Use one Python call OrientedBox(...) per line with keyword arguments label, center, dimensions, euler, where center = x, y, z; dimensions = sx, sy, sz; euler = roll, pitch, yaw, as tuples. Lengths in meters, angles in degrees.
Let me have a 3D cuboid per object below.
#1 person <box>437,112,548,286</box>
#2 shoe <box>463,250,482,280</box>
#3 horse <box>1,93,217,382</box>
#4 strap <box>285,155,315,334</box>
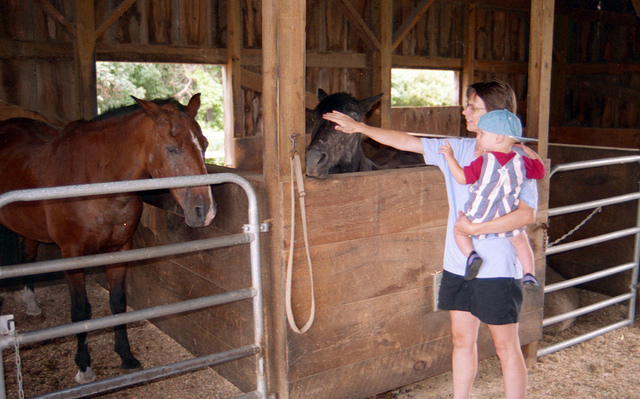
OrientedBox(label="person", center=(1.301, -0.069, 4.236), dimensions=(0.673, 1.214, 0.513), euler=(-6, 13, -20))
OrientedBox(label="shoe", center=(1.104, 0.490, 4.037), dimensions=(0.100, 0.213, 0.093), euler=(8, 33, 2))
OrientedBox(label="horse", center=(-1.983, 0.304, 5.158), dimensions=(1.692, 2.557, 2.822), euler=(-9, 15, -31))
OrientedBox(label="strap", center=(-0.185, 0.373, 4.280), dimensions=(0.233, 1.413, 0.290), euler=(-2, 12, -4))
